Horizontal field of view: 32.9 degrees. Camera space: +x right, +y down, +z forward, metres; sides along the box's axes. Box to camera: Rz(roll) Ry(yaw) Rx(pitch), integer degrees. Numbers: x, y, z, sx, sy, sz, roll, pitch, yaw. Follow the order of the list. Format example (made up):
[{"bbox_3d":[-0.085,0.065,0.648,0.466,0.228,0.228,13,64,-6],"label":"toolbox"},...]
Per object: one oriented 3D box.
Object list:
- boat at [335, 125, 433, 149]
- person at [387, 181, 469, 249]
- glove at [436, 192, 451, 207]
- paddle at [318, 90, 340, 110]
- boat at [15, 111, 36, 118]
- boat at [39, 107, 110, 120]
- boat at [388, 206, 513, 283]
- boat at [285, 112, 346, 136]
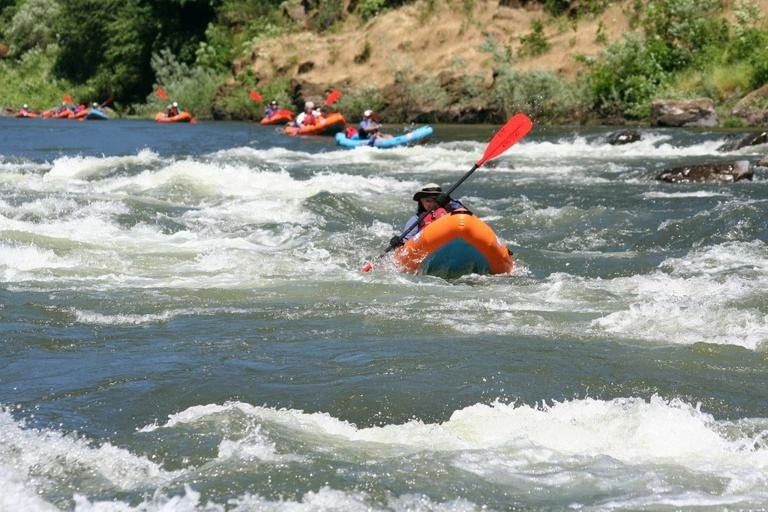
[{"bbox_3d":[-0.230,-3.362,38.550,2.306,0.392,1.155,-2,4,41],"label":"boat"},{"bbox_3d":[0.931,-0.881,26.893,1.017,0.641,1.900,-26,19,27],"label":"person"},{"bbox_3d":[1.213,-1.141,26.670,0.286,0.281,0.199,13,10,22],"label":"glove"},{"bbox_3d":[-1.899,-5.693,47.215,0.236,0.448,1.529,-21,4,-28],"label":"paddle"},{"bbox_3d":[-15.685,-6.193,57.066,0.715,0.209,1.196,2,3,-15],"label":"boat"},{"bbox_3d":[-13.485,-6.200,57.120,1.321,0.427,2.496,-5,2,-27],"label":"boat"},{"bbox_3d":[1.459,0.223,27.573,2.524,0.803,3.904,3,-22,1],"label":"boat"},{"bbox_3d":[-2.375,-4.395,44.052,0.924,0.415,1.731,-5,1,-41],"label":"boat"}]
